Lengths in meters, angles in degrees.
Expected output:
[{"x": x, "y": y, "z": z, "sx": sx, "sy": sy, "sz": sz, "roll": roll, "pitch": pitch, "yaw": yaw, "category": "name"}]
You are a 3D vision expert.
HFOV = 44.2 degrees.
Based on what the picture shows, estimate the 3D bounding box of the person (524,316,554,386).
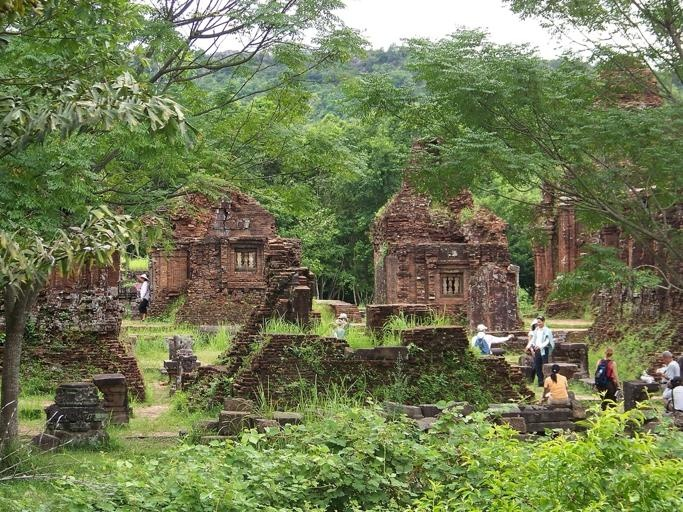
[{"x": 4.776, "y": 2.277, "z": 20.200, "sx": 0.601, "sy": 1.684, "sz": 1.333, "roll": -3, "pitch": -7, "yaw": 12, "category": "person"}]

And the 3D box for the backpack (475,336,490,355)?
[{"x": 3.268, "y": 2.092, "z": 19.579, "sx": 0.393, "sy": 0.474, "sz": 0.266, "roll": 0, "pitch": -13, "yaw": -7, "category": "backpack"}]

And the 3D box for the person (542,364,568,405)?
[{"x": 4.229, "y": 2.548, "z": 16.534, "sx": 0.627, "sy": 0.736, "sz": 0.680, "roll": -4, "pitch": -9, "yaw": 22, "category": "person"}]

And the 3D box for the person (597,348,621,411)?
[{"x": 5.337, "y": 2.446, "z": 16.920, "sx": 0.461, "sy": 1.164, "sz": 2.437, "roll": -3, "pitch": -7, "yaw": 17, "category": "person"}]

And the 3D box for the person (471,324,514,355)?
[{"x": 4.137, "y": 2.285, "z": 22.753, "sx": 1.108, "sy": 1.060, "sz": 0.334, "roll": 5, "pitch": 15, "yaw": 28, "category": "person"}]
